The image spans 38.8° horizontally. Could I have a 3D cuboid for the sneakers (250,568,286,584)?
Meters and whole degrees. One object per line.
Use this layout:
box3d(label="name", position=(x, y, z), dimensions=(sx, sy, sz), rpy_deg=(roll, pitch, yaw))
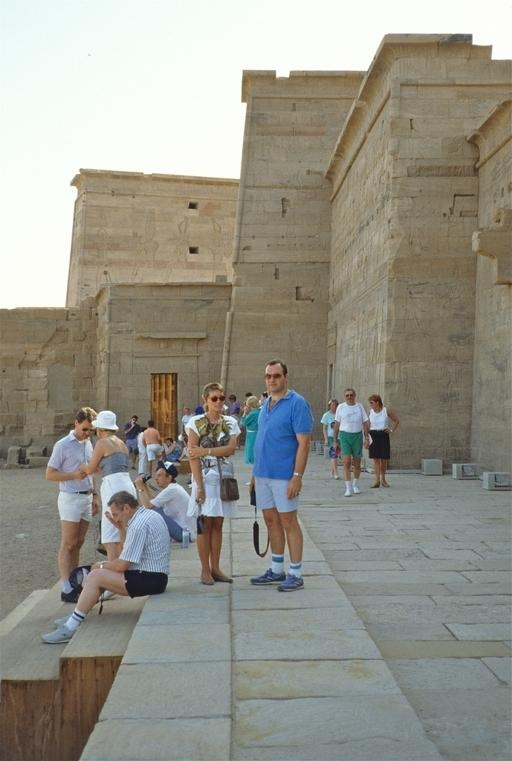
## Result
box3d(label="sneakers", position=(0.086, 1.334, 4.939), dimensions=(0.260, 0.104, 0.084), rpy_deg=(1, -3, -5))

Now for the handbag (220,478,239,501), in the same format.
box3d(label="handbag", position=(-0.187, 0.738, 4.921), dimensions=(0.071, 0.176, 0.199), rpy_deg=(-7, -8, 26))

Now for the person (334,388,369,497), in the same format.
box3d(label="person", position=(1.369, 0.859, 10.467), dimensions=(0.470, 1.447, 1.544), rpy_deg=(-1, -3, 8))

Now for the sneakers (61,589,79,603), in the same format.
box3d(label="sneakers", position=(-1.496, 1.686, 5.680), dimensions=(0.209, 0.084, 0.075), rpy_deg=(7, 7, -26))

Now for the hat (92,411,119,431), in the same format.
box3d(label="hat", position=(-1.181, 0.318, 5.666), dimensions=(0.190, 0.102, 0.194), rpy_deg=(8, -4, 1))

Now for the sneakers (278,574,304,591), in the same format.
box3d(label="sneakers", position=(0.230, 1.325, 4.748), dimensions=(0.074, 0.087, 0.205), rpy_deg=(-8, -11, 39))

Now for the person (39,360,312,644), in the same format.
box3d(label="person", position=(-0.339, 0.634, 4.845), dimensions=(1.364, 1.507, 0.597), rpy_deg=(0, -3, -5))

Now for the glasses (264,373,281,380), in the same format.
box3d(label="glasses", position=(0.093, -0.017, 4.814), dimensions=(0.074, 0.041, 0.160), rpy_deg=(1, -3, -27))

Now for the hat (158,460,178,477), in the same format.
box3d(label="hat", position=(-0.810, 0.824, 6.951), dimensions=(0.191, 0.163, 0.137), rpy_deg=(-9, 15, -27))
